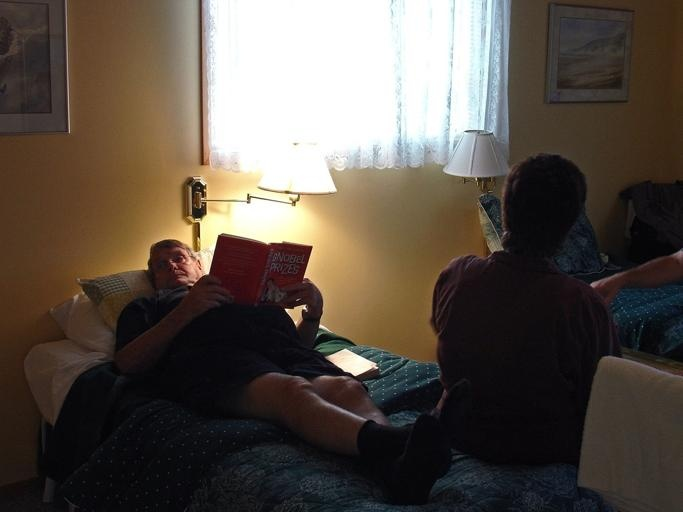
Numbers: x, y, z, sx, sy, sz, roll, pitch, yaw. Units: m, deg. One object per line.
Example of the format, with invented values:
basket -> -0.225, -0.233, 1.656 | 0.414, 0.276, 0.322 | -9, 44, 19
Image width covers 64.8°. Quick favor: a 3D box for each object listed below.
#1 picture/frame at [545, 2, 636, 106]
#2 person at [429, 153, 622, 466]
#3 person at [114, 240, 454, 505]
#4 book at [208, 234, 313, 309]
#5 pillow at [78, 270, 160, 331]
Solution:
picture/frame -> 1.848, -1.482, 3.985 | 0.811, 0.680, 0.050 | -5, 15, -22
person -> 0.609, 0.199, 1.737 | 0.591, 1.022, 0.409 | 1, 14, 4
person -> -0.312, 0.313, 2.041 | 0.603, 0.621, 1.451 | 6, 1, -33
book -> -0.346, 0.086, 2.332 | 0.421, 0.106, 0.309 | 3, 60, 3
pillow -> -1.155, 0.157, 2.672 | 0.399, 0.098, 0.426 | 6, 42, -44
